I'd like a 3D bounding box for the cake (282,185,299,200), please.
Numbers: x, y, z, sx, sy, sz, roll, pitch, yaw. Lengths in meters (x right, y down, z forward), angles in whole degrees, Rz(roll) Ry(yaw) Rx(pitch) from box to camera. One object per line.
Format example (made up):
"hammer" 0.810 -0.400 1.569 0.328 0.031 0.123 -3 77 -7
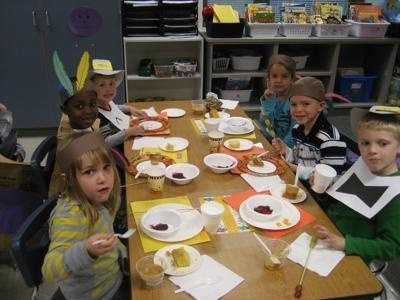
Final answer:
"cake" 0.514 0.239 1.643 0.077 0.060 0.079 7 28 8

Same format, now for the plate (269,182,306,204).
"plate" 0.512 0.258 1.691 0.127 0.014 0.128 16 32 18

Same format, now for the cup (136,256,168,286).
"cup" -0.209 0.499 1.214 0.102 0.071 0.104 1 38 -1

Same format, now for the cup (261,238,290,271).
"cup" 0.330 0.463 1.321 0.116 0.087 0.118 2 41 -2

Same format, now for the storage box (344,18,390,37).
"storage box" 2.411 -1.735 4.230 0.331 0.136 0.406 -2 21 -3

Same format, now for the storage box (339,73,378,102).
"storage box" 2.400 -0.976 4.558 0.483 0.337 0.393 0 29 -4

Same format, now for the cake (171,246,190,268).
"cake" -0.082 0.475 1.277 0.078 0.046 0.080 -8 30 -20

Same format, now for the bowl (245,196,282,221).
"bowl" 0.339 0.307 1.555 0.133 0.055 0.134 -11 33 7

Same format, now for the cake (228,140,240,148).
"cake" 0.257 -0.050 2.156 0.054 0.034 0.058 4 14 2

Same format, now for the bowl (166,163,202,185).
"bowl" -0.112 0.150 1.834 0.139 0.039 0.142 2 37 -1

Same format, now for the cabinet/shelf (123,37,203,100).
"cabinet/shelf" -0.551 -1.202 4.147 0.928 0.896 0.311 -5 29 -7

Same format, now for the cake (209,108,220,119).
"cake" 0.133 -0.331 2.610 0.092 0.093 0.076 -6 14 -16

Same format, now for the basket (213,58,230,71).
"basket" 0.297 -1.217 4.151 0.230 0.199 0.109 -5 29 -13

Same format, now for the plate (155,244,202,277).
"plate" -0.087 0.489 1.273 0.126 0.027 0.128 -5 33 -12

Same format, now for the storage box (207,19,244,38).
"storage box" 0.365 -1.619 3.913 0.440 0.210 0.083 3 28 1

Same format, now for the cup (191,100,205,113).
"cup" -0.015 -0.409 2.729 0.096 0.095 0.122 -2 18 -5

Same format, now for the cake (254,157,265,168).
"cake" 0.393 0.078 1.941 0.041 0.068 0.067 -10 16 -13
